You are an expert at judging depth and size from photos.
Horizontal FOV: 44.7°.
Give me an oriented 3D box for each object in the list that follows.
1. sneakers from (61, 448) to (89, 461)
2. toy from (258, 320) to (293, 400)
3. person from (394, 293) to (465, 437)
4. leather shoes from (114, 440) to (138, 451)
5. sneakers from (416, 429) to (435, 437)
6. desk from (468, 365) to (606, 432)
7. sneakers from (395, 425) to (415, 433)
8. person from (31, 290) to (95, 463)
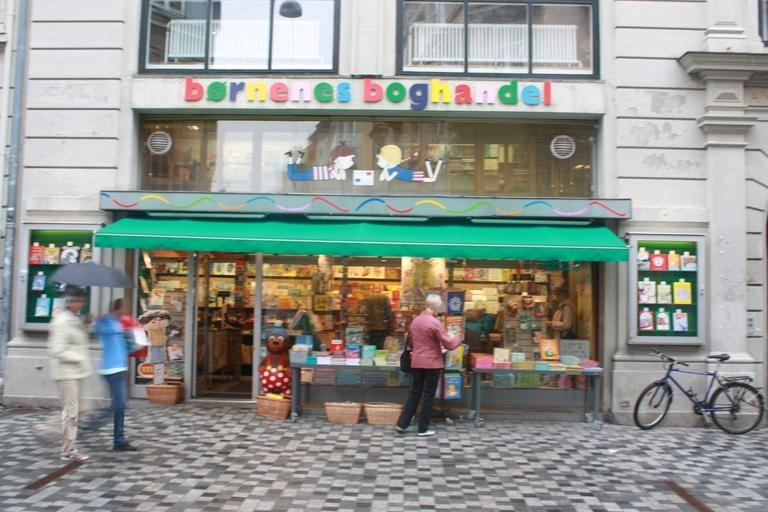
[{"bbox_3d":[-5.212,3.370,15.778,0.460,0.130,0.188,1,-5,-3],"label":"sneakers"},{"bbox_3d":[-2.105,2.029,18.260,0.625,1.380,0.641,2,-4,-7],"label":"toy"},{"bbox_3d":[0.785,2.017,17.189,1.035,2.578,0.365,1,-4,8],"label":"person"},{"bbox_3d":[-4.397,3.285,16.210,0.517,0.205,0.142,-1,5,-17],"label":"leather shoes"},{"bbox_3d":[0.764,3.265,17.135,0.342,0.092,0.107,-1,-4,-7],"label":"sneakers"},{"bbox_3d":[3.333,2.841,18.609,2.527,0.770,1.413,0,4,2],"label":"desk"},{"bbox_3d":[0.350,3.205,17.161,0.386,0.090,0.166,7,6,31],"label":"sneakers"},{"bbox_3d":[-5.409,1.996,16.067,0.742,2.916,0.960,3,-4,-18],"label":"person"}]
